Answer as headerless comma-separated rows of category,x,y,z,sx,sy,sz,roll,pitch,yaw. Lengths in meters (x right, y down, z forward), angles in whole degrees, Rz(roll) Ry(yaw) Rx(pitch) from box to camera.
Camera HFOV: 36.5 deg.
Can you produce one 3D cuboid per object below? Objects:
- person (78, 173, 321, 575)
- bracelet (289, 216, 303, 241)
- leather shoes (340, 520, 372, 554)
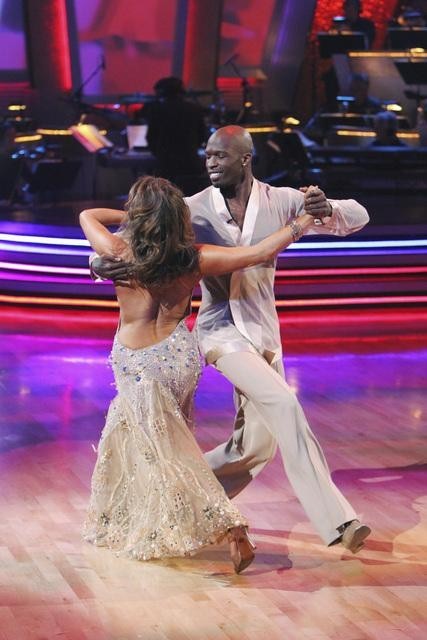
person,-0.137,0.157,2.009,0.677,1.173,0.372,5,10,15
bracelet,0.259,-0.278,1.958,0.034,0.060,0.053,-13,14,25
leather shoes,0.406,0.620,1.823,0.083,0.106,0.060,-3,11,-31
